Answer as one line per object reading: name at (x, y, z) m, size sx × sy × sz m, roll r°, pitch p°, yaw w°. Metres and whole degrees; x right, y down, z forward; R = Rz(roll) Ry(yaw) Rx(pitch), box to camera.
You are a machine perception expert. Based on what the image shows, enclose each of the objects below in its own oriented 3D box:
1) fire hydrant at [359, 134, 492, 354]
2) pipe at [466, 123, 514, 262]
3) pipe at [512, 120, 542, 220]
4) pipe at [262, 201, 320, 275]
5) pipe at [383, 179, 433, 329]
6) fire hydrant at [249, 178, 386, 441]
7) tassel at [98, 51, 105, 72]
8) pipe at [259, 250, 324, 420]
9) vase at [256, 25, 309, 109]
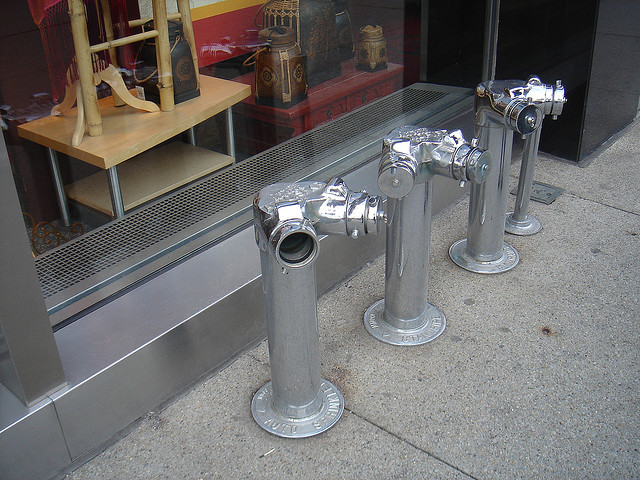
fire hydrant at (0.412, 0.011, 2.184) m, size 0.509 × 0.890 × 0.491 m, roll 11°, pitch 27°, yaw 28°
pipe at (0.840, -0.226, 2.578) m, size 0.205 × 0.701 × 0.160 m, roll 7°, pitch 33°, yaw 18°
pipe at (1.129, -0.380, 2.833) m, size 0.098 × 0.573 × 0.109 m, roll -4°, pitch 21°, yaw -10°
pipe at (-0.086, -0.020, 1.612) m, size 0.148 × 0.250 × 0.249 m, roll -7°, pitch 21°, yaw -11°
pipe at (0.367, 0.075, 2.205) m, size 0.189 × 0.671 × 0.159 m, roll 0°, pitch 32°, yaw 7°
fire hydrant at (-0.059, 0.252, 1.842) m, size 0.385 × 0.899 × 0.524 m, roll 24°, pitch 42°, yaw 37°
tassel at (-0.796, -0.656, 1.889) m, size 0.025 × 0.064 × 0.012 m, roll -24°, pitch 37°, yaw -28°
pipe at (-0.093, 0.342, 1.881) m, size 0.229 × 0.702 × 0.214 m, roll -12°, pitch 32°, yaw -12°
vase at (-0.199, -0.846, 2.493) m, size 0.218 × 0.353 × 0.242 m, roll 6°, pitch 36°, yaw 10°
